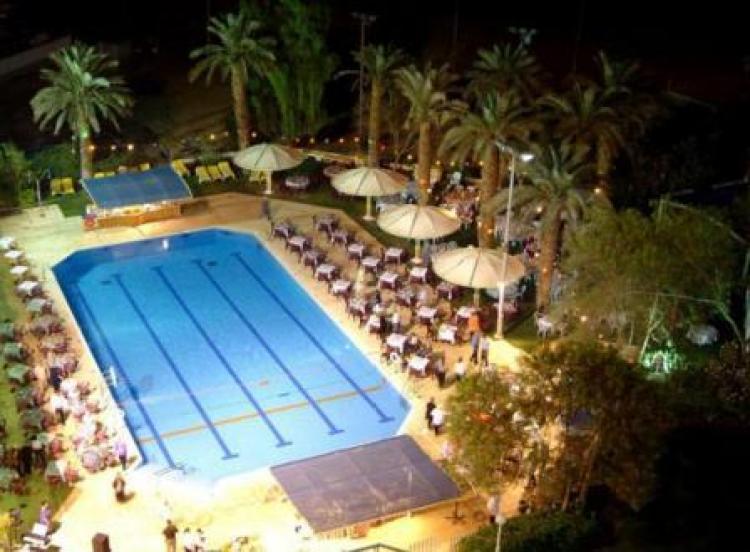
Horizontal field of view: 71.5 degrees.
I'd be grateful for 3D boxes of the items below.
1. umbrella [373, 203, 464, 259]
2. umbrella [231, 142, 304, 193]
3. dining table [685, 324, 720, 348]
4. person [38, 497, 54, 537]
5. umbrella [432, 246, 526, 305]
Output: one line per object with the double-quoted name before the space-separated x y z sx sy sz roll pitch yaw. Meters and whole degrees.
"umbrella" 1.897 -1.835 23.701 2.192 1.545 2.400 17 37 23
"umbrella" -5.835 -5.961 28.413 3.320 2.239 2.955 1 -15 -25
"dining table" 12.273 2.209 19.614 0.929 0.677 0.686 -15 33 -11
"person" -8.341 6.233 13.261 0.275 0.851 0.419 -20 46 -27
"umbrella" 3.863 -0.363 20.175 2.263 0.738 2.173 -27 42 -32
